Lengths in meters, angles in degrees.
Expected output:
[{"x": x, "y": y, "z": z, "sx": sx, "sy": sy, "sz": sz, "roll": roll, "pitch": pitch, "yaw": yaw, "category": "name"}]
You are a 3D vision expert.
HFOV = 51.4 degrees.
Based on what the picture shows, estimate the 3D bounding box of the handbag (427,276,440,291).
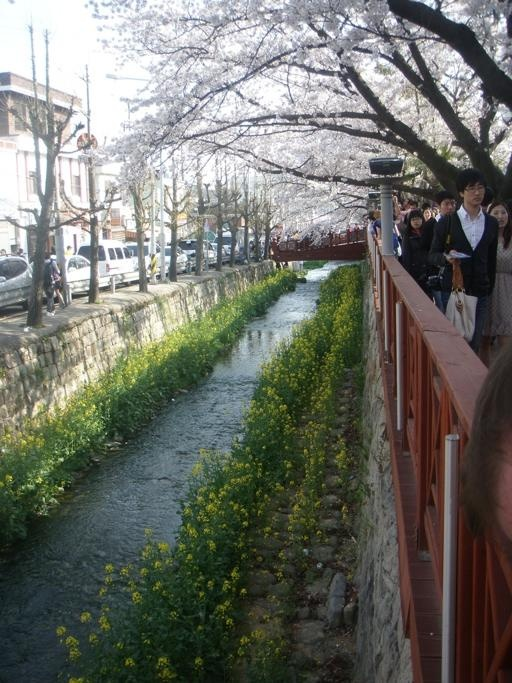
[{"x": 1.555, "y": -0.498, "z": 4.648, "sx": 0.074, "sy": 0.113, "sz": 0.095, "roll": 0, "pitch": -3, "yaw": -34, "category": "handbag"}]

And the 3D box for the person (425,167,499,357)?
[{"x": 1.633, "y": -0.602, "z": 4.217, "sx": 0.629, "sy": 1.418, "sz": 0.445, "roll": -13, "pitch": 12, "yaw": -41, "category": "person"}]
